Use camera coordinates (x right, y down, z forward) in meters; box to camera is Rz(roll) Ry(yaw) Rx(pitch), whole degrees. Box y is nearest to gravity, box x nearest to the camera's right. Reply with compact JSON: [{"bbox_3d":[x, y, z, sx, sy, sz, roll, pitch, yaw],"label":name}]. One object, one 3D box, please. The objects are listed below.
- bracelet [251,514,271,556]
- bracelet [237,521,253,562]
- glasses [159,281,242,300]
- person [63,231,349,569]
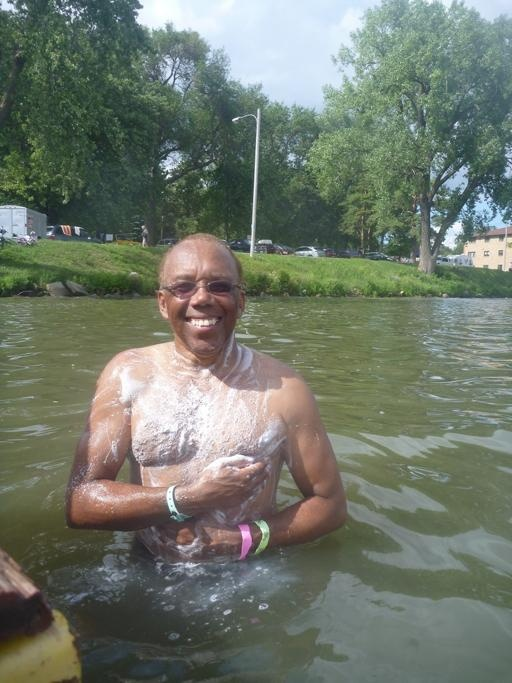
[{"bbox_3d":[0.020,0.843,2.766,0.031,0.119,0.116,-11,28,-24],"label":"bracelet"},{"bbox_3d":[-0.043,0.849,2.730,0.060,0.155,0.047,2,9,-4],"label":"bracelet"},{"bbox_3d":[-0.238,-0.223,2.820,0.336,0.082,0.202,2,8,-7],"label":"glasses"},{"bbox_3d":[-0.212,0.443,2.810,1.169,0.954,0.649,0,9,-15],"label":"person"}]
